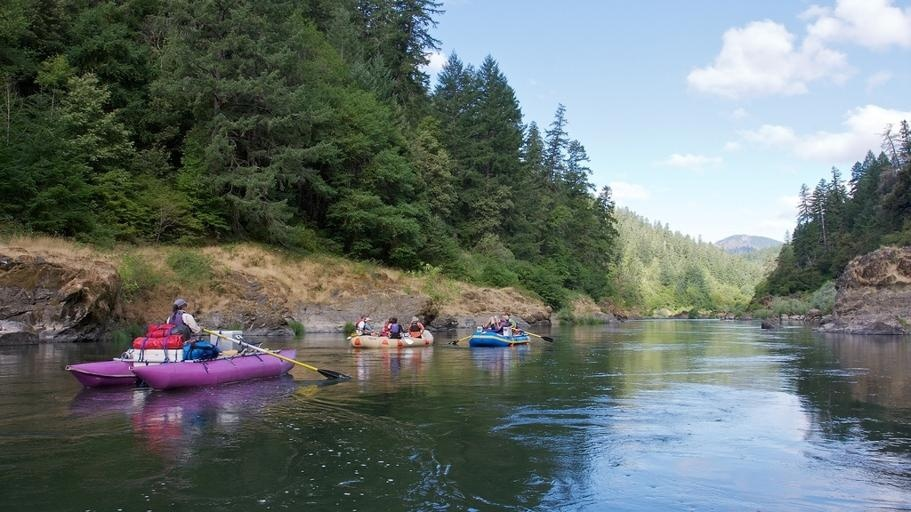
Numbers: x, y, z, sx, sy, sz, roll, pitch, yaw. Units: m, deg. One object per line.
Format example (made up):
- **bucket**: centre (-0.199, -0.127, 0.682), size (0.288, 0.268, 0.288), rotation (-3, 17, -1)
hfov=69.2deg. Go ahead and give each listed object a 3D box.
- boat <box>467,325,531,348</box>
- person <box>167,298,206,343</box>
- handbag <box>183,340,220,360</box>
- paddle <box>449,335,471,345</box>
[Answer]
- **boat**: centre (3.215, 5.696, 45.553), size (4.441, 1.341, 1.958), rotation (-6, 10, -42)
- **person**: centre (-12.181, 2.937, 29.725), size (1.350, 1.904, 0.620), rotation (-3, 10, -22)
- **handbag**: centre (-11.639, 4.334, 30.044), size (1.024, 0.539, 1.265), rotation (-3, 4, -22)
- **paddle**: centre (0.459, 6.042, 46.667), size (0.392, 0.431, 3.564), rotation (-12, -5, 28)
